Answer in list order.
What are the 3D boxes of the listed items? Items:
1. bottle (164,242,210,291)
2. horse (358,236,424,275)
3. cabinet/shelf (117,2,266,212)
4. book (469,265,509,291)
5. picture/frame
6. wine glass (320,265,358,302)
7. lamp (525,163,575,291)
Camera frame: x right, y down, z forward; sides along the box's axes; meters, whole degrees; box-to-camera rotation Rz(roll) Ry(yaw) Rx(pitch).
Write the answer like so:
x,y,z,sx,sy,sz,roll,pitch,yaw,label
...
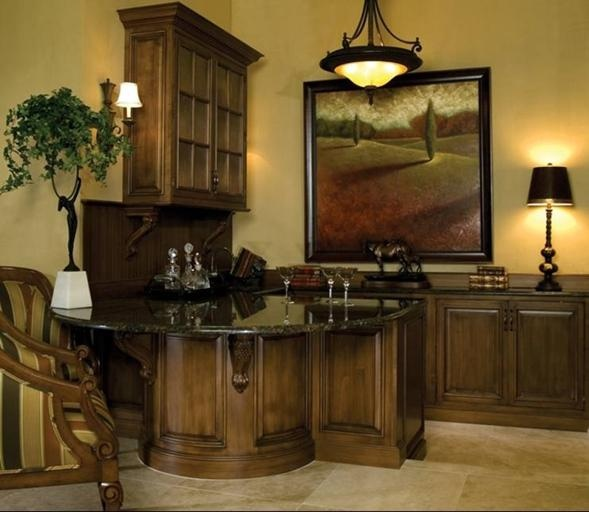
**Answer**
x,y,z,sx,sy,sz,roll,pitch,yaw,label
-0.846,0.082,4.416,0.347,0.405,0.145,-1,-4,-11,bottle
0.868,-0.002,5.028,0.490,0.304,0.228,0,0,15,horse
-0.838,-1.087,4.506,0.542,1.040,1.096,0,0,22,cabinet/shelf
1.599,0.181,4.662,0.223,0.154,0.216,-2,-2,30,book
0.994,-0.816,5.027,1.737,1.718,0.135,0,1,22,picture/frame
0.255,0.145,3.496,0.331,0.290,0.241,0,-2,6,wine glass
2.040,-0.232,4.553,0.341,1.005,0.470,0,0,25,lamp
